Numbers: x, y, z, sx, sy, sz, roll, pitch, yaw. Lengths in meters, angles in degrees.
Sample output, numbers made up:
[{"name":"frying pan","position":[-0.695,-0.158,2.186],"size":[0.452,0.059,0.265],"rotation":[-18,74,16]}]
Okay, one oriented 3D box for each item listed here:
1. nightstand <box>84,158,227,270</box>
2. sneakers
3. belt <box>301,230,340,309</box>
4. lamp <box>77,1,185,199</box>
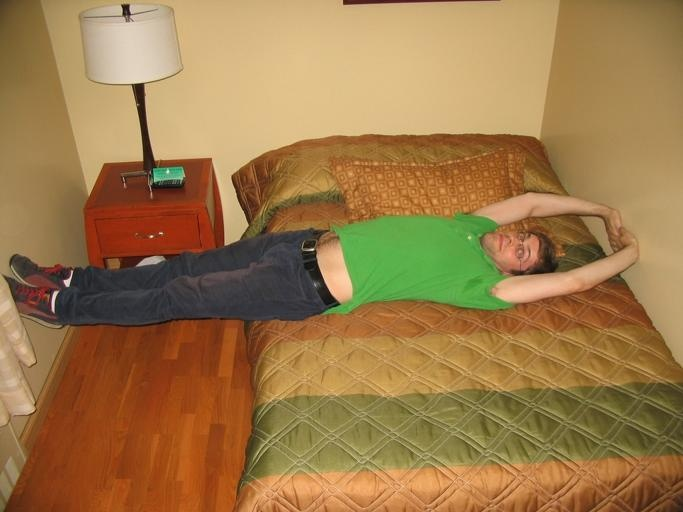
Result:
[{"name":"nightstand","position":[-1.105,-0.183,3.183],"size":[0.752,0.630,0.678],"rotation":[-5,44,-7]},{"name":"sneakers","position":[-1.424,0.178,2.318],"size":[0.387,0.136,0.221],"rotation":[30,26,-38]},{"name":"belt","position":[-0.123,0.073,2.296],"size":[0.108,0.269,0.279],"rotation":[-21,48,-6]},{"name":"lamp","position":[-1.119,-0.816,2.766],"size":[0.475,0.906,0.489],"rotation":[-9,41,-15]}]
